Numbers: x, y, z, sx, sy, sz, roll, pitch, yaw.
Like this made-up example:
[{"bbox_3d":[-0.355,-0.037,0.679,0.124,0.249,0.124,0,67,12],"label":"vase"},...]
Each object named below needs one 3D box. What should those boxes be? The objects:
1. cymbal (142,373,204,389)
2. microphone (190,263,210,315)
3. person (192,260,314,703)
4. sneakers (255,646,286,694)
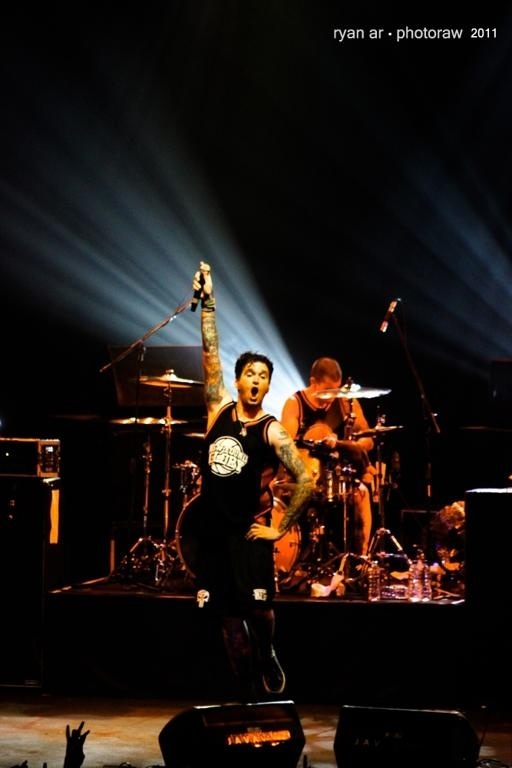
[{"bbox_3d":[-0.635,-0.017,5.110,0.223,0.058,0.225,-3,-10,27],"label":"cymbal"},{"bbox_3d":[-0.249,-0.387,2.943,0.103,0.192,0.062,-9,32,-29],"label":"microphone"},{"bbox_3d":[-0.030,0.395,2.911,0.523,1.816,0.390,2,-13,-8],"label":"person"},{"bbox_3d":[0.057,1.211,2.875,0.107,0.218,0.198,0,-13,0],"label":"sneakers"}]
